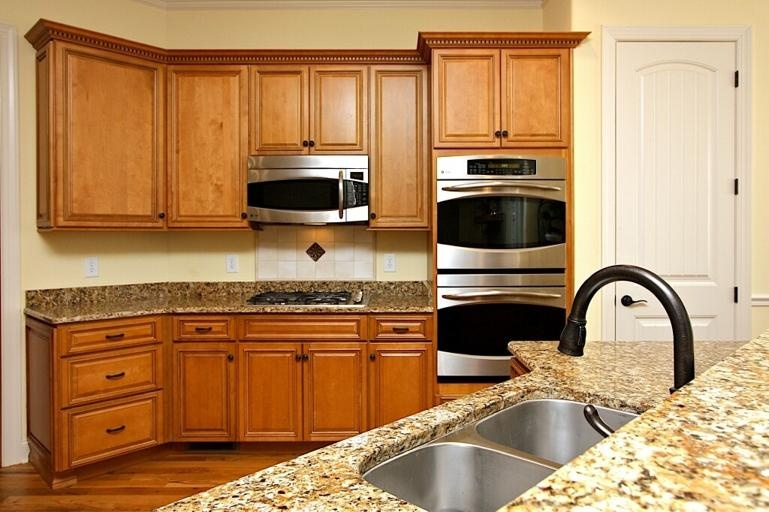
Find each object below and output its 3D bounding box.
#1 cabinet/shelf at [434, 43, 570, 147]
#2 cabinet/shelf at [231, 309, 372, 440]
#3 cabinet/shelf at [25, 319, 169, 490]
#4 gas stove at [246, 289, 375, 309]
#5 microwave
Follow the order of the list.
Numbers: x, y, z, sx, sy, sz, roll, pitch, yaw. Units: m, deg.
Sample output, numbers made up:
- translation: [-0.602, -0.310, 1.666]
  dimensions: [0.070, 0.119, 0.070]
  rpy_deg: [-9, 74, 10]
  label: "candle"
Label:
- translation: [0.868, -1.150, 4.458]
  dimensions: [0.904, 0.536, 0.314]
  rpy_deg: [0, -2, 1]
  label: "cabinet/shelf"
- translation: [-0.802, 0.912, 4.715]
  dimensions: [1.087, 0.870, 0.766]
  rpy_deg: [11, -18, -43]
  label: "cabinet/shelf"
- translation: [-2.013, 0.961, 4.323]
  dimensions: [0.970, 1.066, 0.435]
  rpy_deg: [-3, 4, -12]
  label: "cabinet/shelf"
- translation: [-0.572, 0.310, 4.730]
  dimensions: [0.870, 0.077, 0.598]
  rpy_deg: [-1, 4, 1]
  label: "gas stove"
- translation: [-0.597, -0.507, 4.439]
  dimensions: [0.964, 0.417, 0.548]
  rpy_deg: [0, -3, 1]
  label: "microwave"
